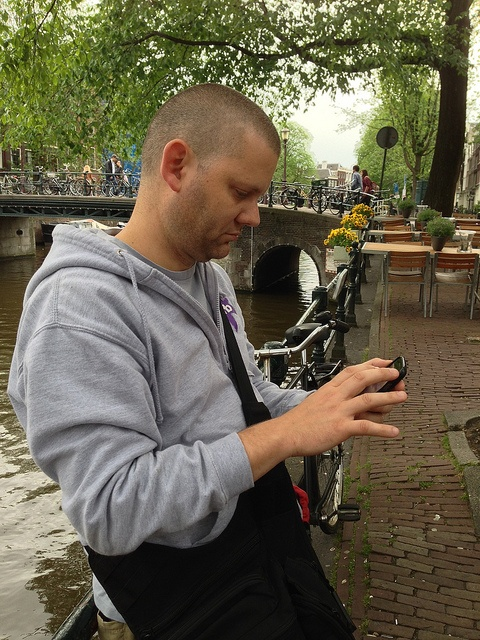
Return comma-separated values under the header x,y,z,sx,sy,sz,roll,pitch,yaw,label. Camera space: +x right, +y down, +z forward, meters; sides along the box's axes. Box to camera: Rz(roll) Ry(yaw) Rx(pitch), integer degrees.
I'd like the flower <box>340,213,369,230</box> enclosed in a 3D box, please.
x,y,z,sx,sy,sz,roll,pitch,yaw,label
2.876,-2.488,12.967,0.665,0.423,0.582,0,19,5,flower

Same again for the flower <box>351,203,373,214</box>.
x,y,z,sx,sy,sz,roll,pitch,yaw,label
3.403,-3.158,14.648,0.656,0.369,0.637,-7,15,-26,flower

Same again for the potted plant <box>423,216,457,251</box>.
x,y,z,sx,sy,sz,roll,pitch,yaw,label
3.267,-1.439,8.550,0.536,0.593,0.553,4,12,16,potted plant

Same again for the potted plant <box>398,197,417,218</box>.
x,y,z,sx,sy,sz,roll,pitch,yaw,label
6.421,-4.260,19.449,0.908,0.832,0.819,-5,12,-14,potted plant

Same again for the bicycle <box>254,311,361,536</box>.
x,y,z,sx,sy,sz,roll,pitch,yaw,label
0.256,0.590,3.049,0.593,0.773,1.333,-13,-1,13,bicycle
